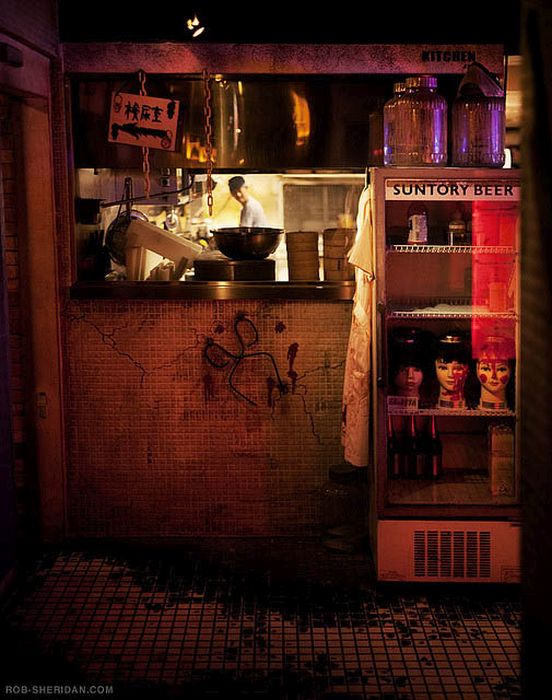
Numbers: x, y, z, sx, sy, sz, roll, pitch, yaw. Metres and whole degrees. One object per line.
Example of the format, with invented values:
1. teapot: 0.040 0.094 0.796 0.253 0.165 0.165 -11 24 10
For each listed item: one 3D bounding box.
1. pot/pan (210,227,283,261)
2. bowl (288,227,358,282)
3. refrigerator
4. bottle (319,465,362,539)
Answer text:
1. pot/pan: -0.165 -0.597 4.049 0.374 0.148 0.207 4 -21 -2
2. bowl: 0.234 -0.525 4.122 0.451 0.324 0.283 0 2 2
3. refrigerator: 0.855 0.111 3.787 0.745 2.087 1.330 0 -21 10
4. bottle: 0.377 0.865 4.142 0.251 0.409 0.402 2 -21 6
